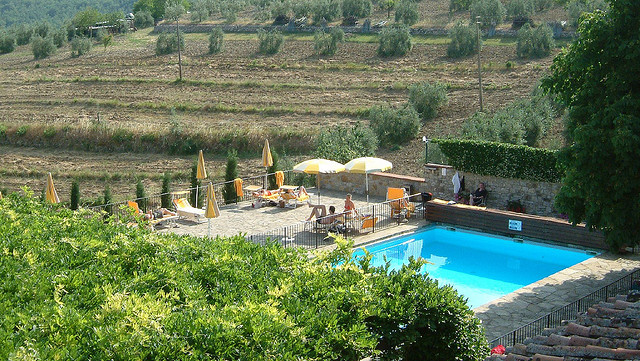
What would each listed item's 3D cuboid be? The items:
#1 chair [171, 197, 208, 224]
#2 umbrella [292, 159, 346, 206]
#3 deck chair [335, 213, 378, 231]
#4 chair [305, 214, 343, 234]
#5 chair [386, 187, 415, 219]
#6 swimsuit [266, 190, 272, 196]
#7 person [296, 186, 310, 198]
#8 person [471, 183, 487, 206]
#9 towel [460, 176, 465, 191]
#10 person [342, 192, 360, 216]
[{"bbox_3d":[-11.035,2.507,81.110,2.978,1.572,1.882,13,18,33],"label":"chair"},{"bbox_3d":[-0.214,0.244,82.234,4.038,4.600,4.035,-1,4,-32],"label":"umbrella"},{"bbox_3d":[3.417,3.395,79.100,2.093,0.767,1.423,-7,11,-42],"label":"deck chair"},{"bbox_3d":[0.390,3.800,78.979,1.952,1.294,1.963,-1,1,-28],"label":"chair"},{"bbox_3d":[6.629,1.795,81.479,2.015,3.570,2.511,4,9,21],"label":"chair"},{"bbox_3d":[-4.455,1.021,82.932,0.249,0.210,0.418,4,20,-26],"label":"swimsuit"},{"bbox_3d":[-1.515,1.001,82.858,0.834,1.541,0.781,-11,12,-37],"label":"person"},{"bbox_3d":[13.680,1.077,81.415,1.170,1.764,0.585,-2,11,1],"label":"person"},{"bbox_3d":[12.381,0.215,82.382,0.431,1.201,0.186,-3,11,-5],"label":"towel"},{"bbox_3d":[2.624,2.020,80.961,1.423,2.821,0.795,-1,16,10],"label":"person"}]
